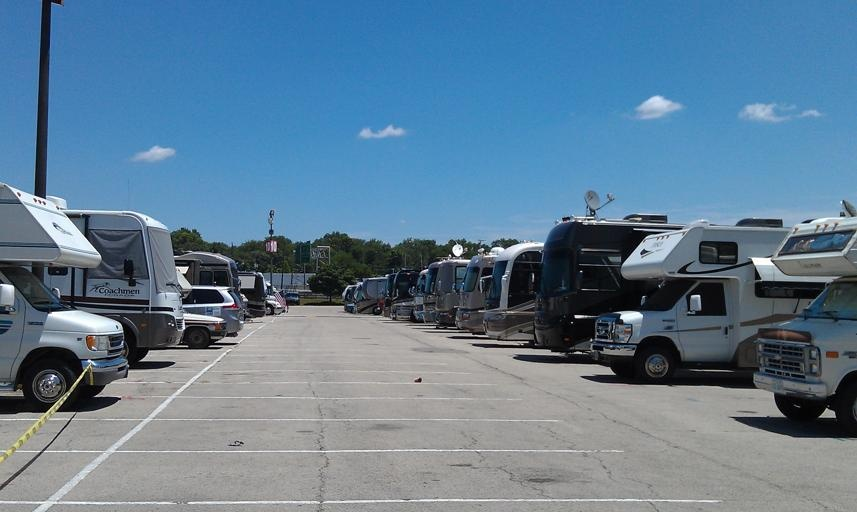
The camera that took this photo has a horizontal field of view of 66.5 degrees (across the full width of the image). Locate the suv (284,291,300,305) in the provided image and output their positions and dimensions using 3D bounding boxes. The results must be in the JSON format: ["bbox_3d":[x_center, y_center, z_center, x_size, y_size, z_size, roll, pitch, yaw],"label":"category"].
[{"bbox_3d":[-21.120,6.447,100.749,2.315,2.029,3.861,-1,-7,-10],"label":"suv"}]

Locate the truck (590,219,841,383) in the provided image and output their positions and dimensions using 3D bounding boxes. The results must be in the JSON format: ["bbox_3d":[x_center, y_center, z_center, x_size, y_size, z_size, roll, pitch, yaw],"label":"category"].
[{"bbox_3d":[7.599,1.310,19.923,7.444,3.927,4.040,1,-1,-6],"label":"truck"}]
